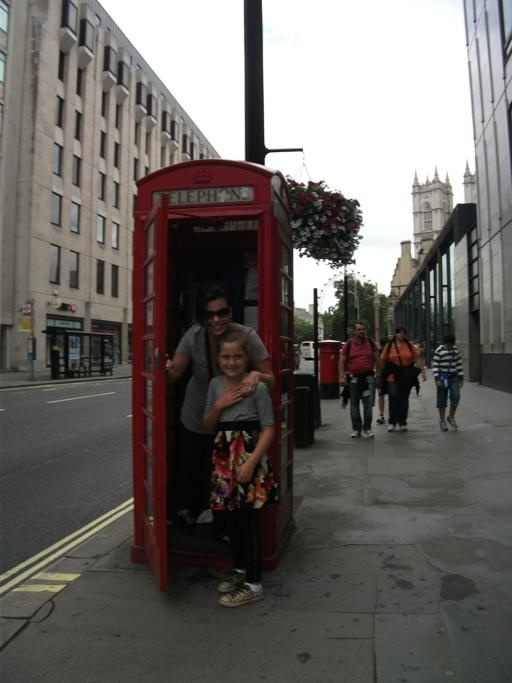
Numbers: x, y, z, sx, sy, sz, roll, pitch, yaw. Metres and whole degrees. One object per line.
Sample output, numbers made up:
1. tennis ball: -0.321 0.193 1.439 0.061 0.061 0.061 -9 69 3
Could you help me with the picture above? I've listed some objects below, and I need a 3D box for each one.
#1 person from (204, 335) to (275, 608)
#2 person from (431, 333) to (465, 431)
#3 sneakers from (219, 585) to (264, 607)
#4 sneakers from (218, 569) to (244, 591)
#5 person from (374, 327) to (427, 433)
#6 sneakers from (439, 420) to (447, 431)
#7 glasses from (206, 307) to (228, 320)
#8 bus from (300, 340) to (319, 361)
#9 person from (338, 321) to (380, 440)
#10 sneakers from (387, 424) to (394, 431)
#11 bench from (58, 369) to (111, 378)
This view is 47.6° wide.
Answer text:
1. person: -0.089 0.653 3.126 0.343 1.402 0.410 0 -1 -15
2. person: 3.258 0.698 9.895 0.448 1.575 0.813 -1 -1 20
3. sneakers: -0.070 1.304 3.014 0.230 0.109 0.089 4 4 -27
4. sneakers: -0.135 1.306 3.171 0.059 0.093 0.198 -1 -16 24
5. person: 2.408 0.650 9.650 0.670 1.709 0.813 -1 -1 17
6. sneakers: 3.141 1.424 9.745 0.076 0.117 0.251 -3 -11 14
7. glasses: -0.214 -0.155 3.293 0.070 0.029 0.085 -3 42 0
8. bus: 5.654 1.051 65.146 1.228 2.115 8.112 -1 -1 2
9. person: 1.620 0.628 9.187 0.617 1.763 0.536 -1 -1 9
10. sneakers: 2.266 1.460 9.746 0.057 0.082 0.178 -5 -21 16
11. bench: -8.857 1.646 29.733 2.196 0.342 7.078 -1 -1 -19
